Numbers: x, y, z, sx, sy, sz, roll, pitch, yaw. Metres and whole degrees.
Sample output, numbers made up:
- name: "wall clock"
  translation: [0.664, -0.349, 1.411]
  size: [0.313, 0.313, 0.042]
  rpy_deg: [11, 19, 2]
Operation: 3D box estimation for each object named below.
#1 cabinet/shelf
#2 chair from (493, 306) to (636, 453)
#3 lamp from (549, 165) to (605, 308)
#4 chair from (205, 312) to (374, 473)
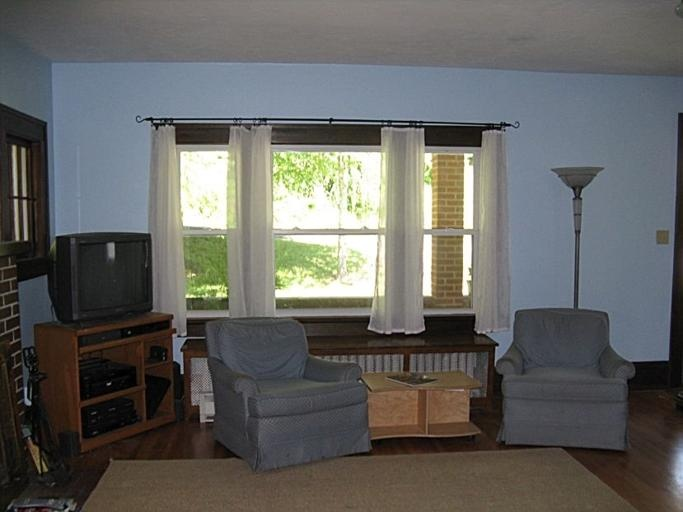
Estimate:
- name: "cabinet/shelf"
  translation: [-2.029, 1.135, 5.083]
  size: [0.540, 1.029, 1.126]
  rpy_deg: [2, 5, 41]
- name: "chair"
  translation: [1.994, 1.107, 5.599]
  size: [1.054, 1.059, 1.203]
  rpy_deg: [-1, -12, 16]
- name: "lamp"
  translation: [2.323, -0.175, 5.999]
  size: [0.450, 1.444, 0.758]
  rpy_deg: [0, 4, 22]
- name: "chair"
  translation: [-0.498, 1.104, 5.150]
  size: [1.085, 1.041, 1.239]
  rpy_deg: [1, -5, -27]
